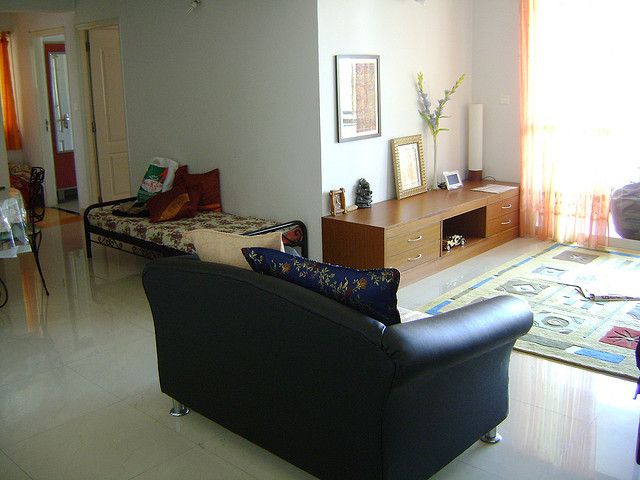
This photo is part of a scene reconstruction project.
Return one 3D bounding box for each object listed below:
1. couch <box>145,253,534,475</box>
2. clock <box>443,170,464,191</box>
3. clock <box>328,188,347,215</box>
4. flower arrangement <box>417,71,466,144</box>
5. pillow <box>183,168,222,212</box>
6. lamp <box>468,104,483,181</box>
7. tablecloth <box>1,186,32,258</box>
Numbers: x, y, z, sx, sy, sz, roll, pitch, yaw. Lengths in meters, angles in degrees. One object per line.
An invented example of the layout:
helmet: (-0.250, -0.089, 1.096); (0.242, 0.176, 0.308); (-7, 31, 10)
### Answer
couch: (-0.002, 0.571, 2.328); (1.822, 0.909, 0.659); (3, 18, 21)
clock: (1.586, -0.718, 5.769); (0.143, 0.186, 0.307); (10, 22, 38)
clock: (0.156, -0.365, 4.645); (0.056, 0.257, 0.220); (0, 9, 37)
flower arrangement: (1.394, -1.539, 5.590); (0.282, 0.808, 0.701); (9, 21, 36)
pillow: (-1.277, -0.531, 5.297); (0.401, 0.460, 0.155); (8, 14, 27)
lamp: (1.932, -1.213, 6.050); (0.168, 0.930, 0.141); (2, 17, 18)
tablecloth: (-2.533, -0.139, 3.992); (0.208, 0.450, 0.506); (-13, 19, -28)
